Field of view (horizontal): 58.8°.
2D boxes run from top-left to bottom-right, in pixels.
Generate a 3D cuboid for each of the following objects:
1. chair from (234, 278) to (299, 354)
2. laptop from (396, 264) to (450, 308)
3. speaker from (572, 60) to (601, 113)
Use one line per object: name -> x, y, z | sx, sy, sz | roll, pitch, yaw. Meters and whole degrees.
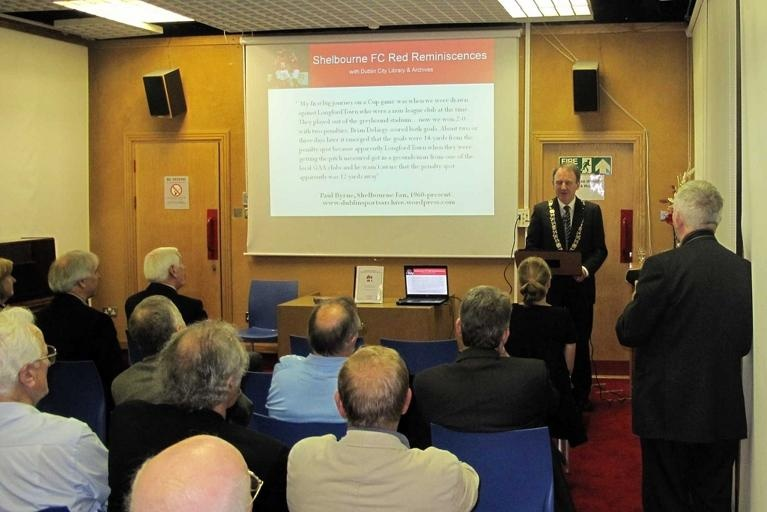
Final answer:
chair -> -1.253, 0.761, 7.094 | 0.555, 0.936, 0.674 | 1, 9, 15
laptop -> 0.409, 0.279, 6.626 | 0.473, 0.359, 0.365 | 0, -3, 7
speaker -> 2.134, -1.810, 7.167 | 0.270, 0.521, 0.252 | 2, 4, 16
